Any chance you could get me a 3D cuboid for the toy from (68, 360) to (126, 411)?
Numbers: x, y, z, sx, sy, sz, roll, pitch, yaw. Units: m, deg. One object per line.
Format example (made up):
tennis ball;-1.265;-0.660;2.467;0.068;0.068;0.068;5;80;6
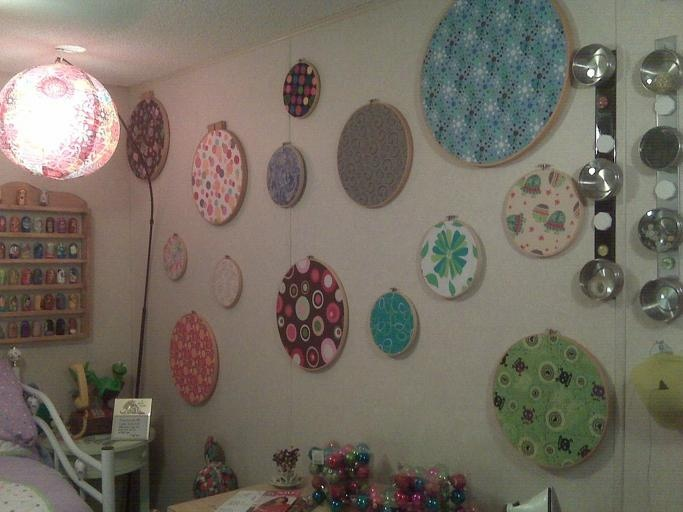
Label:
toy;-1.504;0.801;3.856;0.298;0.271;0.317;0;-7;2
